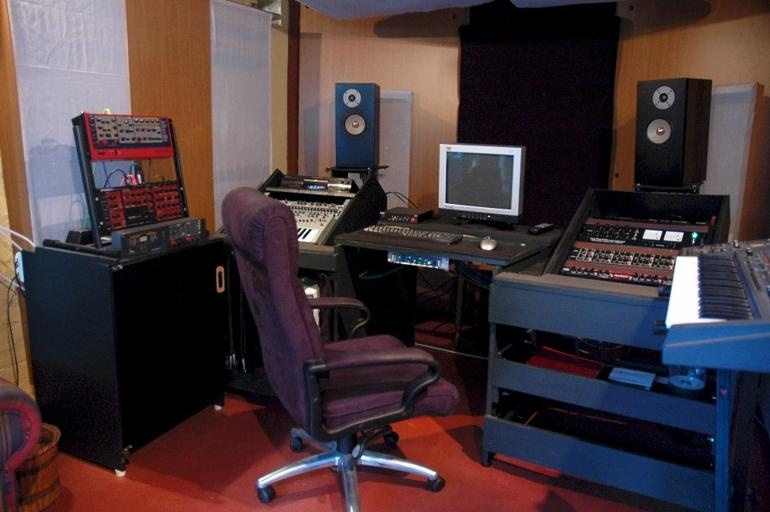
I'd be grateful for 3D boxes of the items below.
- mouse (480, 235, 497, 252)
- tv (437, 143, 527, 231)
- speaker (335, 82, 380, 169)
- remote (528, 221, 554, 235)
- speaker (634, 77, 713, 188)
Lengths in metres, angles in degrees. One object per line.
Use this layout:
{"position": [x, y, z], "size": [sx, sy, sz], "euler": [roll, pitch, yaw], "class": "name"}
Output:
{"position": [0.577, -0.062, 3.265], "size": [0.069, 0.021, 0.084], "euler": [2, 52, 5], "class": "mouse"}
{"position": [0.620, -0.502, 3.839], "size": [0.754, 0.668, 0.441], "euler": [7, 17, 26], "class": "tv"}
{"position": [-0.218, -0.954, 4.218], "size": [0.285, 0.598, 0.131], "euler": [0, 13, 8], "class": "speaker"}
{"position": [0.991, -0.153, 3.650], "size": [0.103, 0.066, 0.218], "euler": [4, 22, 43], "class": "remote"}
{"position": [1.738, -0.746, 3.517], "size": [0.396, 0.635, 0.605], "euler": [5, 15, 27], "class": "speaker"}
